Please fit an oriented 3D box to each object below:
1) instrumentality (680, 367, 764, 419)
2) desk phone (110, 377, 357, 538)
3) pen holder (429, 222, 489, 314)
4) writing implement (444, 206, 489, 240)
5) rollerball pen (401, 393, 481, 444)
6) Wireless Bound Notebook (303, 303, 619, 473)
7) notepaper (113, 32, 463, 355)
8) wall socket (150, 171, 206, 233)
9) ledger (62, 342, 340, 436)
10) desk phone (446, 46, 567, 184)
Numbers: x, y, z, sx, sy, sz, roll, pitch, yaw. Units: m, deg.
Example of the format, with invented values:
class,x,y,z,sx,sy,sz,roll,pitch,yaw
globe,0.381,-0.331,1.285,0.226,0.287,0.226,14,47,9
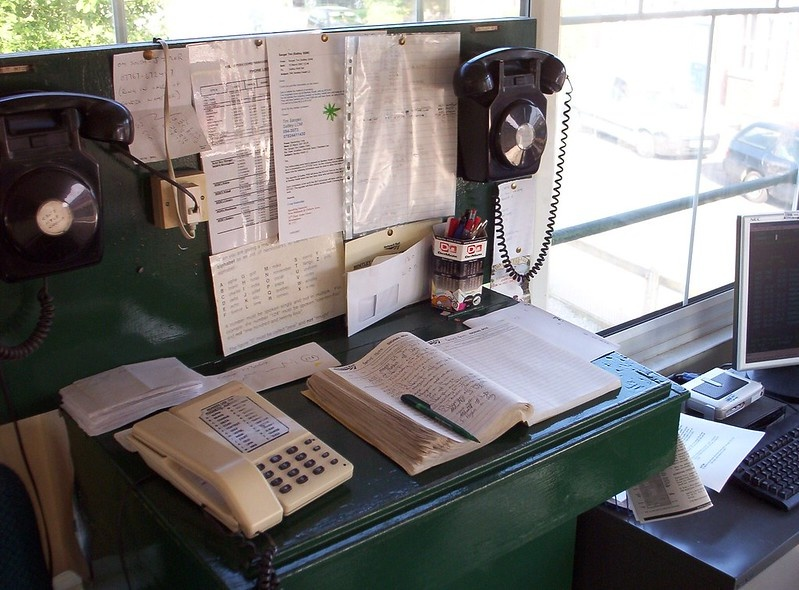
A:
class,x,y,z,sx,sy,sz,roll,pitch,yaw
instrumentality,0.951,0.295,1.892,0.240,0.064,0.178,-22,23,-34
desk phone,-0.259,0.231,0.993,0.326,0.074,0.251,27,28,36
pen holder,0.127,-0.060,1.467,0.130,0.171,0.134,16,22,35
writing implement,0.144,-0.155,1.419,0.077,0.033,0.076,0,65,21
rollerball pen,0.068,0.207,1.050,0.019,0.017,0.130,-24,41,-35
Wireless Bound Notebook,0.107,0.155,1.160,0.411,0.044,0.257,-17,35,-36
notepaper,-0.242,-0.204,1.256,0.618,0.513,0.087,-19,35,-31
wall socket,-0.408,-0.173,1.149,0.045,0.081,0.087,23,34,34
ledger,-0.374,0.100,1.160,0.377,0.051,0.182,-19,32,-30
desk phone,0.220,-0.398,1.388,0.311,0.303,0.158,-18,31,-33
